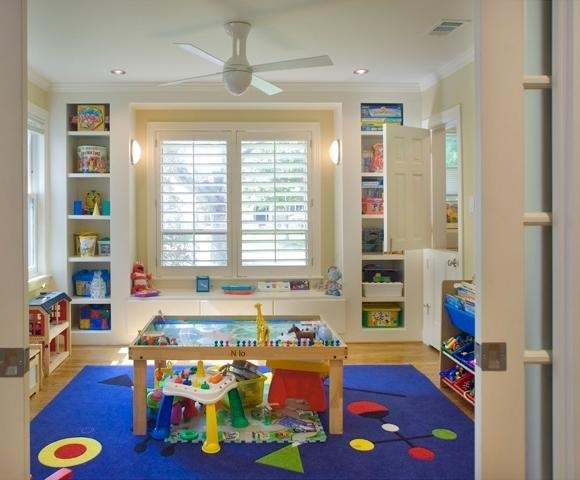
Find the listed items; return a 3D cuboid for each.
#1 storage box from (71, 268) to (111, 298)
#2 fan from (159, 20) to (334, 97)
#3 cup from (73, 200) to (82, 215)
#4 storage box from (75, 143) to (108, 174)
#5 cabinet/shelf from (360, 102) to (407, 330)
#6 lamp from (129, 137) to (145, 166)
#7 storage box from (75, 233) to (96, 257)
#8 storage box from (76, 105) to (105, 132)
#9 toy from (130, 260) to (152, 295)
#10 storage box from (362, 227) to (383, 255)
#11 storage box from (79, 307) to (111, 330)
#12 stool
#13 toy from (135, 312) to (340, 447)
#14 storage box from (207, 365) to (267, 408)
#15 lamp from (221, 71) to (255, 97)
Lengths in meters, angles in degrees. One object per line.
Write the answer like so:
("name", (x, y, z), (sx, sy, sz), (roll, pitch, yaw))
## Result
("storage box", (-1.965, 0.370, 4.805), (0.392, 0.269, 0.251), (0, -3, 0))
("fan", (-0.211, -1.160, 3.232), (0.704, 0.277, 0.706), (-5, -5, 40))
("cup", (-2.111, -0.321, 4.846), (0.091, 0.142, 0.191), (-2, 6, -23))
("storage box", (-1.929, -0.781, 4.779), (0.280, 0.284, 0.185), (-2, 5, -20))
("cabinet/shelf", (0.922, -0.219, 4.764), (0.468, 2.232, 0.679), (-1, 5, -11))
("lamp", (-1.536, -0.870, 4.858), (0.074, 0.255, 0.247), (0, 5, -8))
("storage box", (-1.995, 0.065, 4.846), (0.245, 0.273, 0.212), (1, -7, -14))
("storage box", (-1.933, -1.177, 4.717), (0.265, 0.262, 0.244), (0, 4, -1))
("toy", (-1.485, 0.384, 4.862), (0.181, 0.307, 0.365), (0, 5, -9))
("storage box", (0.785, 0.006, 4.945), (0.253, 0.346, 0.228), (0, -2, -3))
("storage box", (-1.927, 0.794, 4.812), (0.244, 0.185, 0.243), (0, 1, -5))
("stool", (0.053, 0.923, 3.238), (0.346, 0.269, 0.348), (1, -2, 1))
("toy", (-0.345, 1.024, 3.215), (0.968, 0.410, 0.759), (0, 2, -2))
("storage box", (-0.334, 0.947, 3.215), (0.370, 0.227, 0.262), (3, -7, -29))
("lamp", (-0.351, -1.028, 3.258), (0.140, 0.105, 0.141), (0, 2, -10))
